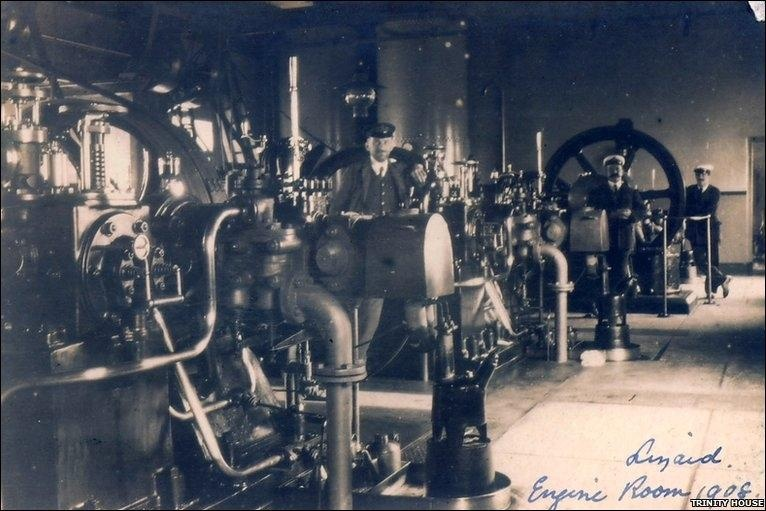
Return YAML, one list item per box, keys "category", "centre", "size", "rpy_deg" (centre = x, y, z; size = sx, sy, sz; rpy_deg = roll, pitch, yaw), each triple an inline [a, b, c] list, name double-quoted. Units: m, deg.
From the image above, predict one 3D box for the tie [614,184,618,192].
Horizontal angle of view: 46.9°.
- category: "tie"
  centre: [2.903, -0.840, 10.953]
  size: [0.068, 0.063, 0.022]
  rpy_deg: [5, -1, 9]

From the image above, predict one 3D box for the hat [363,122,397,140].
- category: "hat"
  centre: [-0.055, -1.141, 8.073]
  size: [0.292, 0.159, 0.238]
  rpy_deg: [-1, 3, 5]

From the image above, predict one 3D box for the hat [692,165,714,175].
- category: "hat"
  centre: [3.641, -0.964, 9.966]
  size: [0.196, 0.085, 0.229]
  rpy_deg: [7, 17, 27]

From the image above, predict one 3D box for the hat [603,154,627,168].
- category: "hat"
  centre: [2.892, -1.180, 11.013]
  size: [0.208, 0.155, 0.402]
  rpy_deg: [-1, 3, 5]

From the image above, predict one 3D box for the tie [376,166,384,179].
- category: "tie"
  centre: [-0.044, -0.779, 8.211]
  size: [0.086, 0.107, 0.026]
  rpy_deg: [-1, 9, -8]
